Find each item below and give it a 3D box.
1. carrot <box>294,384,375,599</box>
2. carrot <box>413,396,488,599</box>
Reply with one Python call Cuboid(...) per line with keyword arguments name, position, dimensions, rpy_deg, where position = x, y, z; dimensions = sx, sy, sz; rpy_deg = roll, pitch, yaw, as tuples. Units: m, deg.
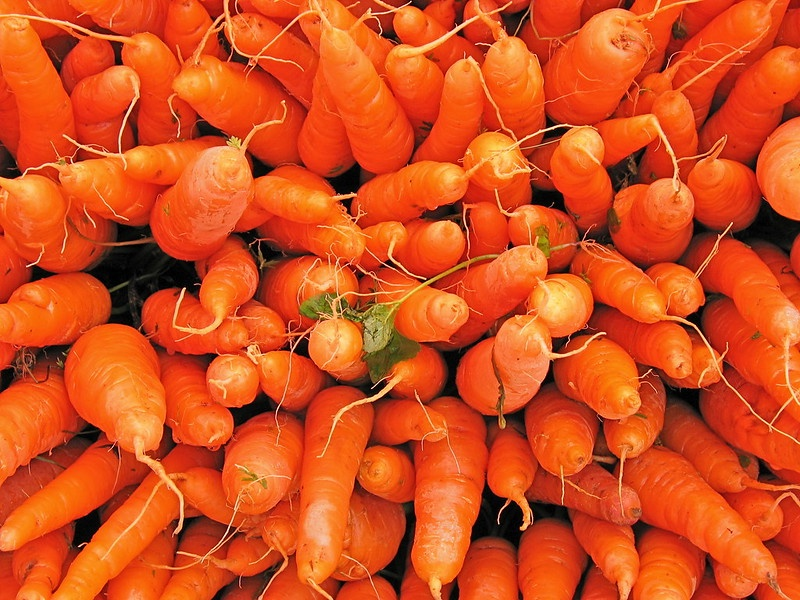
Cuboid(name="carrot", position=(-0.192, 0.498, 2.101), dimensions=(0.158, 0.155, 0.620), rpy_deg=(7, 55, -5))
Cuboid(name="carrot", position=(0.146, 0.549, 2.163), dimensions=(0.185, 0.164, 0.579), rpy_deg=(-4, 54, 12))
